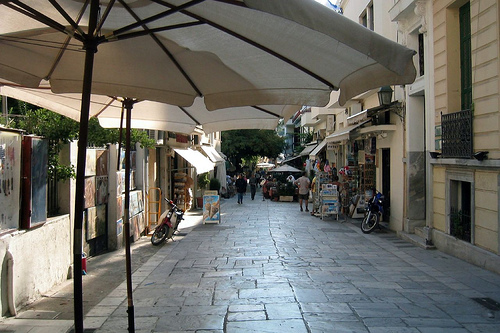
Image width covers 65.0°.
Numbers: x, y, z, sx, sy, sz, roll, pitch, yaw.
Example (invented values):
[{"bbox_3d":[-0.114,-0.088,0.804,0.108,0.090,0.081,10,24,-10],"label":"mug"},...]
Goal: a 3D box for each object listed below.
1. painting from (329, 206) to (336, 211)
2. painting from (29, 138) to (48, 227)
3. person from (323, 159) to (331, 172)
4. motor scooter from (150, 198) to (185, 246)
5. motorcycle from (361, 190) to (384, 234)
[{"bbox_3d":[4.138,2.078,19.510,0.215,0.218,0.059,-2,-10,9],"label":"painting"},{"bbox_3d":[-4.616,0.348,8.390,0.190,1.834,0.994,1,-2,-12],"label":"painting"},{"bbox_3d":[5.626,-0.080,28.373,0.584,1.167,0.730,-3,-27,10],"label":"person"},{"bbox_3d":[-3.048,2.114,14.797,1.079,1.618,2.583,20,-8,-1],"label":"motor scooter"},{"bbox_3d":[5.145,1.841,16.292,0.881,1.607,2.104,0,-1,19],"label":"motorcycle"}]
